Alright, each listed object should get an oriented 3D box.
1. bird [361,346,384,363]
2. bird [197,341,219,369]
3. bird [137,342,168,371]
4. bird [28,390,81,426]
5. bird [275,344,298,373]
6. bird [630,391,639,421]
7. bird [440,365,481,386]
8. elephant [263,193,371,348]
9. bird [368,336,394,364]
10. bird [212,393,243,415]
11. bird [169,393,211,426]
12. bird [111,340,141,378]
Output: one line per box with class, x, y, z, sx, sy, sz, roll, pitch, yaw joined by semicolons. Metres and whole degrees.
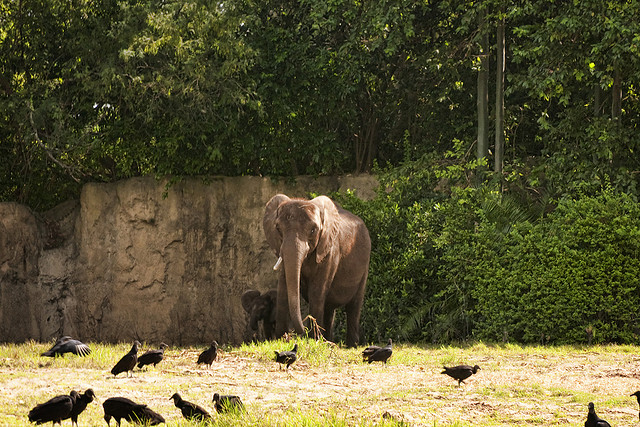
bird;1.160;3.382;33.074;0.743;0.346;0.229;-20;-26;29
bird;-2.693;3.415;32.540;0.650;0.847;0.332;-9;-12;37
bird;-4.134;3.517;32.660;0.635;0.515;0.927;-2;-4;-9
bird;-5.887;4.286;29.719;1.090;0.750;0.293;-2;-3;-14
bird;-0.782;3.426;32.429;0.367;0.562;0.741;-5;-5;38
bird;6.979;4.244;30.109;0.186;0.607;0.979;-3;-4;12
bird;3.238;3.772;31.607;0.875;0.469;0.502;-3;-4;4
elephant;-0.241;1.564;35.274;2.018;4.055;4.464;-3;-12;25
bird;1.428;3.358;32.966;0.587;0.568;0.528;-3;-4;11
bird;-2.121;4.201;30.009;0.556;0.356;0.283;9;-14;3
bird;-2.910;4.318;29.900;0.992;0.723;0.339;-6;-5;36
bird;-4.564;3.392;31.824;0.624;0.971;0.389;4;9;12
